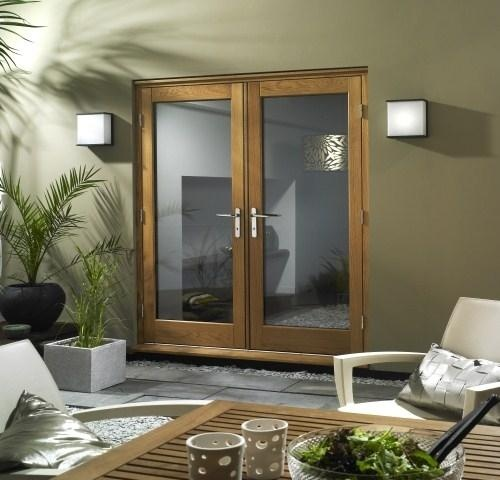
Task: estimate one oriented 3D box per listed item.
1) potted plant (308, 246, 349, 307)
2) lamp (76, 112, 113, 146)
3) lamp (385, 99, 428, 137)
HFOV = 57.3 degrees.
[{"bbox_3d":[0.762,0.361,4.253,0.489,0.605,0.454,0,-2,16],"label":"potted plant"},{"bbox_3d":[-1.577,-1.127,4.652,0.376,0.295,0.139,2,4,25],"label":"lamp"},{"bbox_3d":[1.327,-1.021,3.836,0.360,0.299,0.133,0,0,23],"label":"lamp"}]
